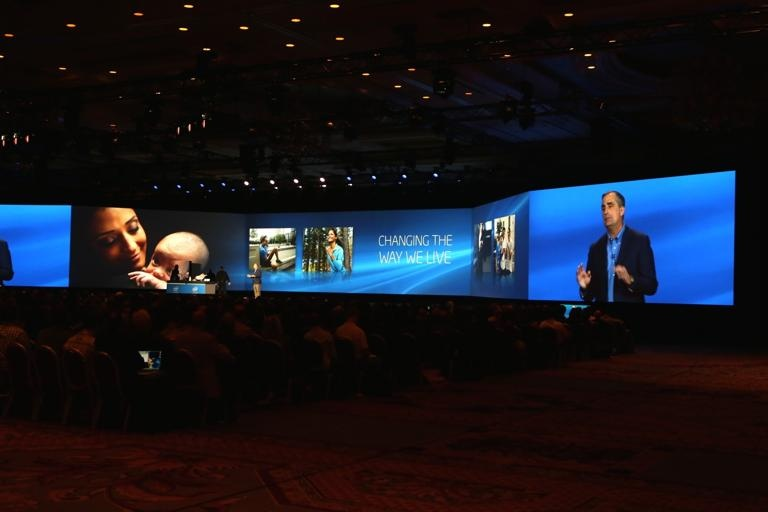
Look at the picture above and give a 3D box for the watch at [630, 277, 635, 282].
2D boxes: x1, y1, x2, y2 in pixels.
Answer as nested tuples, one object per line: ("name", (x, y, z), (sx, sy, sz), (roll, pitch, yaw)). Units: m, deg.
("watch", (6.891, 0.648, 15.579), (0.082, 0.107, 0.034), (-9, -17, 28))
